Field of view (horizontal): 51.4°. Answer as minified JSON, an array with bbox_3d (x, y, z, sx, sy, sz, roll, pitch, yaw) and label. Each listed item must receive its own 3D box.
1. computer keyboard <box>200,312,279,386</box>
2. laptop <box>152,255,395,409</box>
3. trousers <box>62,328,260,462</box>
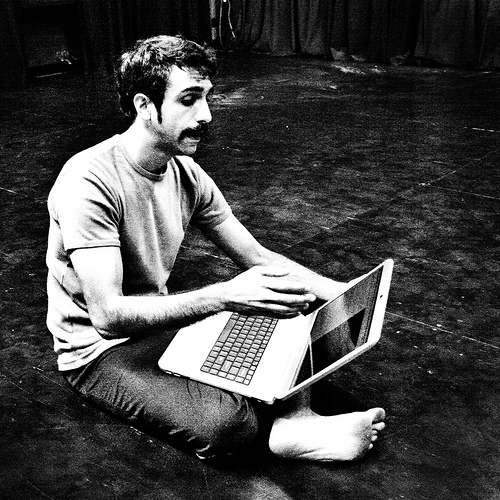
[{"bbox_3d":[-0.013,0.192,1.086,0.100,0.221,0.009,20,33,-5],"label":"computer keyboard"},{"bbox_3d":[0.056,0.133,1.049,0.427,0.206,0.372,23,28,24],"label":"laptop"},{"bbox_3d":[-0.174,0.292,1.066,0.391,0.199,0.211,17,32,37],"label":"trousers"}]
